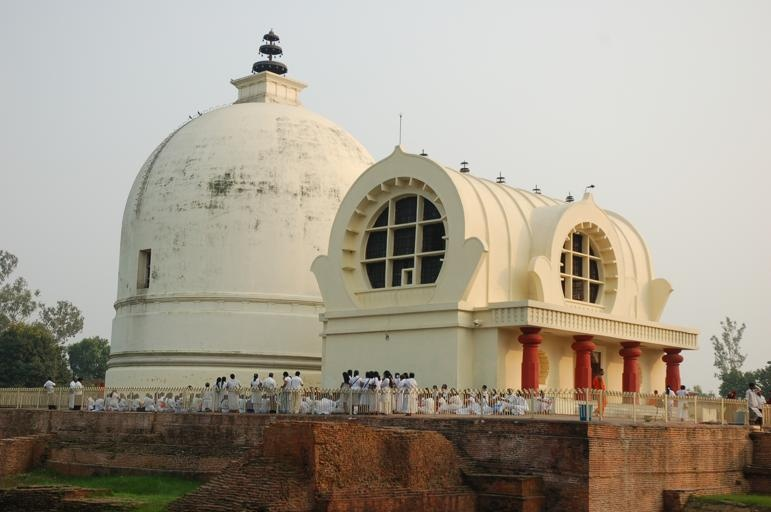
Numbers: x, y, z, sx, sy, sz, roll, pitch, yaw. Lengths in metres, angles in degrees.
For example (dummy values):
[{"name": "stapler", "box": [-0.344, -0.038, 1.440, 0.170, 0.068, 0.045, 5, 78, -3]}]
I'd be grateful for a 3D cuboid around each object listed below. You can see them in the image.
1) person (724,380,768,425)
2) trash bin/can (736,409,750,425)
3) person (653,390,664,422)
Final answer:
[{"name": "person", "box": [11.629, 4.715, 40.186, 1.531, 1.057, 1.514, 11, -13, -37]}, {"name": "trash bin/can", "box": [11.353, 5.054, 39.473, 0.459, 0.454, 0.455, 1, -8, -14]}, {"name": "person", "box": [8.300, 4.528, 37.903, 0.336, 0.759, 1.479, -2, -14, 12]}]
